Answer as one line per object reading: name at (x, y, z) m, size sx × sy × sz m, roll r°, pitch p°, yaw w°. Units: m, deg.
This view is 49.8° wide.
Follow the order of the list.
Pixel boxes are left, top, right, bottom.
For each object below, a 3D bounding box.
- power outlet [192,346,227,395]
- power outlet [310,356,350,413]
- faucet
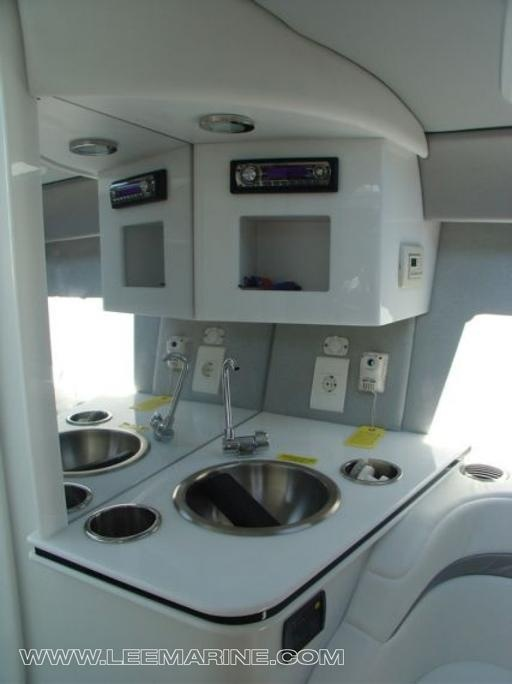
power outlet at (-0.163, 0.096, 1.914) m, size 0.099 × 0.159 × 0.019 m, roll 6°, pitch -4°, yaw 18°
power outlet at (0.247, 0.152, 1.913) m, size 0.141 × 0.178 × 0.048 m, roll 6°, pitch -4°, yaw 26°
faucet at (-0.038, 0.197, 1.660) m, size 0.159 × 0.278 × 0.075 m, roll -2°, pitch -2°, yaw -23°
